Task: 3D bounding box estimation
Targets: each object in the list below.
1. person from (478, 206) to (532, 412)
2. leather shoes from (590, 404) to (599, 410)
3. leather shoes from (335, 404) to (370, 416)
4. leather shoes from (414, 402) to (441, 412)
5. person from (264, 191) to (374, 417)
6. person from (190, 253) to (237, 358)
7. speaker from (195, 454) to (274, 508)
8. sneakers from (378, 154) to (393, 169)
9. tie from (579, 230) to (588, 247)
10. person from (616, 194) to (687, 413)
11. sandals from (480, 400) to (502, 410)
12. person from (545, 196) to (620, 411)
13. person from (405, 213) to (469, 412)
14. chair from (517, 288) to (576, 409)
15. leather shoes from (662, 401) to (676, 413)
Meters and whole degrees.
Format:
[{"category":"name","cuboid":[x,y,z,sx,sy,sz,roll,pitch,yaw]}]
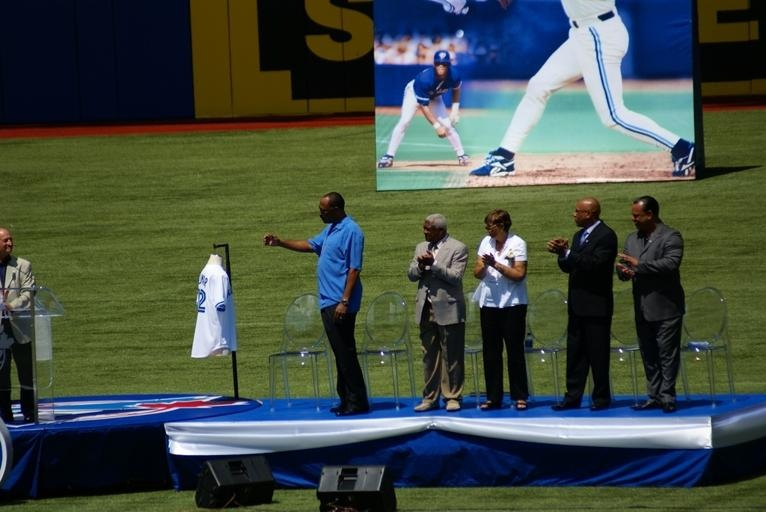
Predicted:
[{"category":"person","cuboid":[1.648,0.697,26.815,0.722,2.722,0.665,-1,7,2]},{"category":"leather shoes","cuboid":[2.938,2.043,26.561,0.161,0.076,0.145,1,7,19]},{"category":"leather shoes","cuboid":[-0.463,2.101,26.831,0.482,0.116,0.288,-1,7,5]},{"category":"leather shoes","cuboid":[0.596,2.062,26.802,0.341,0.120,0.137,2,-4,-12]},{"category":"person","cuboid":[-0.650,0.602,27.015,0.765,3.053,1.051,-4,8,-22]},{"category":"person","cuboid":[-2.466,0.680,27.575,0.469,1.487,0.635,4,9,36]},{"category":"speaker","cuboid":[-2.061,3.054,26.105,0.923,0.710,0.655,5,37,-25]},{"category":"sneakers","cuboid":[0.030,-1.608,31.948,0.290,0.260,0.166,7,6,1]},{"category":"tie","cuboid":[2.799,-0.298,26.729,0.051,0.192,0.114,20,-10,-29]},{"category":"person","cuboid":[3.696,0.599,26.611,0.918,2.902,0.769,1,8,19]},{"category":"sandals","cuboid":[1.491,2.031,26.728,0.333,0.119,0.113,5,-9,-23]},{"category":"person","cuboid":[2.830,0.785,26.668,0.852,2.544,0.556,-1,7,5]},{"category":"person","cuboid":[0.776,0.739,26.818,0.782,2.707,0.661,-1,7,6]},{"category":"chair","cuboid":[2.081,1.188,27.807,0.800,1.494,0.916,1,4,-39]},{"category":"leather shoes","cuboid":[3.959,2.020,26.461,0.206,0.117,0.303,0,7,9]}]
